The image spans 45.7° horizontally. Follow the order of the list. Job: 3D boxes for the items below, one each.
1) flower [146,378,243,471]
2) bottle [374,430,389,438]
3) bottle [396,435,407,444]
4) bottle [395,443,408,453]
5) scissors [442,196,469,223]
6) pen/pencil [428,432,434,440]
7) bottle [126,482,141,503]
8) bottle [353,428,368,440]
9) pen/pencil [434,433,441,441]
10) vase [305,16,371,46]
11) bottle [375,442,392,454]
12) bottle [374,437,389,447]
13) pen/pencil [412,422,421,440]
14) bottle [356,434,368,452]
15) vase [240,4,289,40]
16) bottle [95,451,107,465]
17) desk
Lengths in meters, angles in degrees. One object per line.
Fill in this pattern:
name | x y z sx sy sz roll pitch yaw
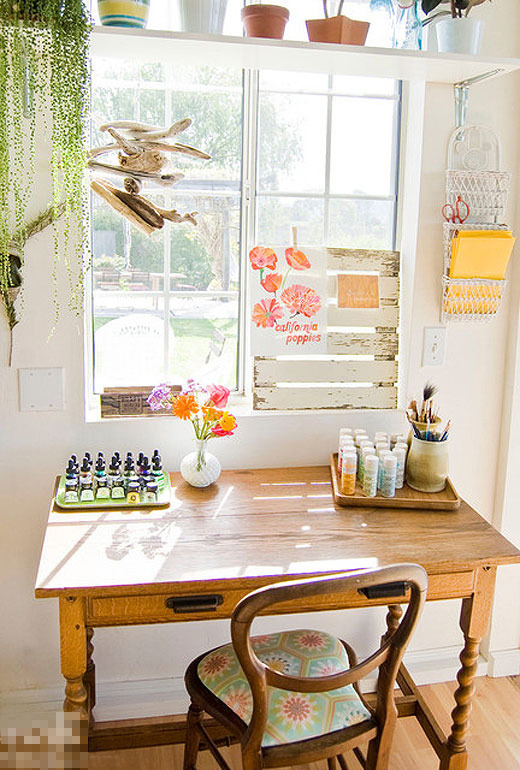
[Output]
flower | -0.155 0.111 1.609 0.182 0.197 0.188 0 10 30
bottle | 0.343 0.134 1.713 0.027 0.015 0.026 0 9 0
bottle | 0.383 0.155 1.668 0.027 0.023 0.026 8 29 11
bottle | 0.375 0.163 1.632 0.027 0.020 0.027 3 11 -1
scissors | 0.557 -0.497 1.745 0.073 0.089 0.012 16 40 32
pen/pencil | 0.444 0.132 1.610 0.018 0.023 0.004 3 13 -1
bottle | -0.308 0.259 1.501 0.032 0.052 0.049 2 10 0
bottle | 0.280 0.137 1.733 0.030 0.028 0.030 0 7 -9
pen/pencil | 0.470 0.138 1.634 0.005 0.019 0.020 25 -27 -20
vase | 0.182 -0.826 1.441 0.119 0.052 0.098 6 32 15
bottle | 0.330 0.167 1.658 0.030 0.021 0.030 -2 4 0
bottle | 0.331 0.158 1.674 0.033 0.030 0.032 0 14 -2
pen/pencil | 0.414 0.122 1.644 0.010 0.014 0.050 -33 39 18
bottle | 0.276 0.162 1.690 0.039 0.043 0.039 -1 2 5
vase | 0.012 -0.830 1.405 0.105 0.064 0.104 -7 17 -26
bottle | -0.396 0.184 1.551 0.029 0.052 0.022 1 -6 -16
desk | 0.019 0.721 1.747 1.315 0.835 0.664 -2 44 -6
